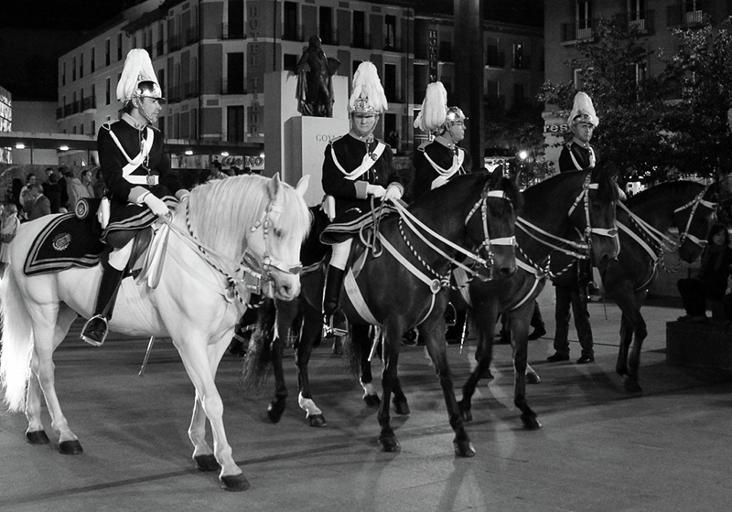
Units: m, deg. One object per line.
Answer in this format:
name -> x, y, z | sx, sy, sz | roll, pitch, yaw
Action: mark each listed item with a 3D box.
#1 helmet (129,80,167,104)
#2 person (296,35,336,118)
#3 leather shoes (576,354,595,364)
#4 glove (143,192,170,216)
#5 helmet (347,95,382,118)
helmet -> -2.302, -1.705, 8.784 | 0.457, 0.210, 0.309 | 5, 4, 8
person -> -1.070, -3.897, 18.576 | 0.846, 1.821, 1.335 | 0, 5, -2
leather shoes -> 3.331, 1.579, 13.141 | 0.275, 0.101, 0.119 | 5, -8, -43
glove -> -2.027, -0.505, 8.395 | 0.286, 0.183, 0.074 | 34, 42, -5
helmet -> -0.012, -1.680, 9.609 | 0.345, 0.241, 0.235 | 0, 5, -1
